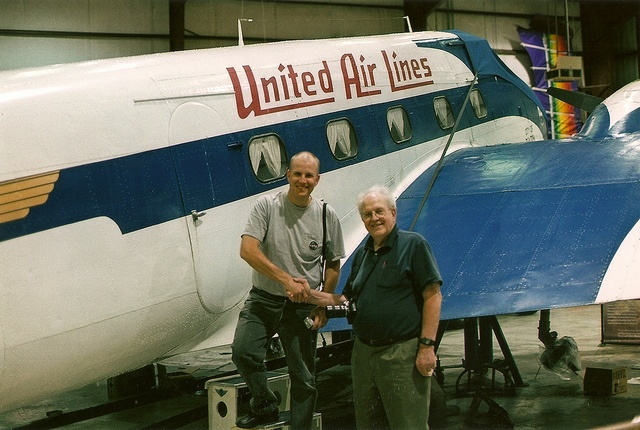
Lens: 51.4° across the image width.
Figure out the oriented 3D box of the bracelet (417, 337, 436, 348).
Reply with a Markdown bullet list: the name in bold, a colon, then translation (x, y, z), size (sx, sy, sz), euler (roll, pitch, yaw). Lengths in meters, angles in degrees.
- **bracelet**: translation (1.150, 1.360, 7.181), size (0.137, 0.085, 0.140), euler (11, -6, -16)

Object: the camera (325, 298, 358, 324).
- **camera**: translation (0.245, 1.069, 7.550), size (0.305, 0.119, 0.289), euler (-3, 9, -1)
